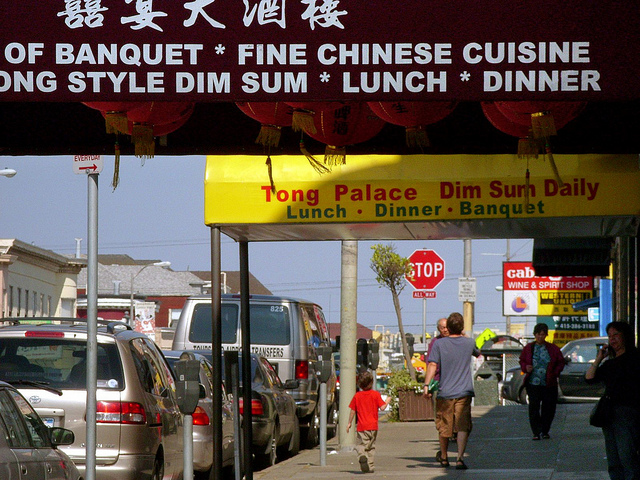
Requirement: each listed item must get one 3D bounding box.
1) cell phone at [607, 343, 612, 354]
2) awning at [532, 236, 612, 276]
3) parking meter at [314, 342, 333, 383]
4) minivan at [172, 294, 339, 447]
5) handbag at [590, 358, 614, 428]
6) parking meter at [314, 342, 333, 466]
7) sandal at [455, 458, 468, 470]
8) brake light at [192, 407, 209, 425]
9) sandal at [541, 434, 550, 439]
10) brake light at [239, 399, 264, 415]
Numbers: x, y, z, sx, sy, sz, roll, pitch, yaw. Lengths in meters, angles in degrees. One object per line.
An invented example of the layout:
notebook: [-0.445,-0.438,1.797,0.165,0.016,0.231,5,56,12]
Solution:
cell phone: [3.101,1.193,16.478,0.038,0.157,0.036,-5,35,4]
awning: [3.997,0.276,24.623,1.234,0.769,0.864,3,1,12]
parking meter: [0.034,1.658,20.440,0.212,0.518,0.516,0,-6,-1]
minivan: [-0.930,2.101,25.295,1.854,2.135,4.044,-1,-5,16]
handbag: [3.005,1.670,16.372,0.206,0.658,0.310,0,-1,15]
parking meter: [0.036,2.196,20.178,0.329,1.423,0.326,1,-1,-7]
sandal: [1.751,2.802,19.156,0.148,0.139,0.284,-1,-6,5]
brake light: [-1.453,2.132,18.512,0.155,0.162,0.306,1,3,4]
sandal: [3.309,2.893,22.483,0.109,0.064,0.212,-5,-8,39]
brake light: [-0.909,2.251,20.535,0.202,0.212,0.400,0,1,8]
